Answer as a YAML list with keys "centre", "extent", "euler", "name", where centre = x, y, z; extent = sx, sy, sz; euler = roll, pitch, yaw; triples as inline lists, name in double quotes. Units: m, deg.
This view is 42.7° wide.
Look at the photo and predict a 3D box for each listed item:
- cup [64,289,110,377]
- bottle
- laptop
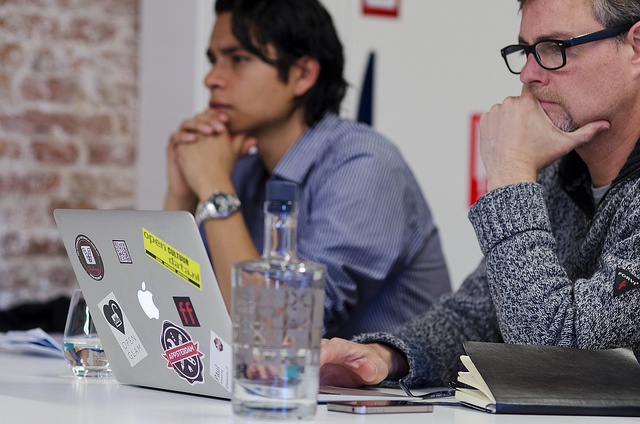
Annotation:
- centre: [-0.512, 0.265, 1.888]
  extent: [0.139, 0.230, 0.151]
  euler: [-1, 3, 0]
  name: "cup"
- centre: [-0.082, 0.158, 1.497]
  extent: [0.172, 0.411, 0.169]
  euler: [0, 9, 0]
  name: "bottle"
- centre: [-0.270, 0.167, 1.736]
  extent: [0.404, 0.354, 0.457]
  euler: [-3, -12, 39]
  name: "laptop"
